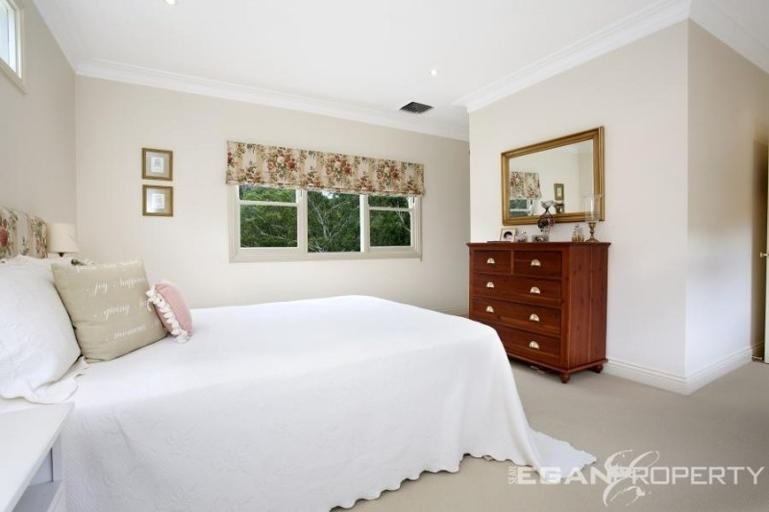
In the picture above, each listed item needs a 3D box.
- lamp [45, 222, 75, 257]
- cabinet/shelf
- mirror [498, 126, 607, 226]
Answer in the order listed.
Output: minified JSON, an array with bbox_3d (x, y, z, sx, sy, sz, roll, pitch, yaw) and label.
[{"bbox_3d":[-2.926,-0.147,4.479,0.250,0.301,0.252,-5,10,-28],"label":"lamp"},{"bbox_3d":[1.594,0.523,5.307,0.756,1.410,1.309,-2,3,-36],"label":"cabinet/shelf"},{"bbox_3d":[1.853,-0.866,5.265,0.054,0.898,1.153,-2,2,-37],"label":"mirror"}]
